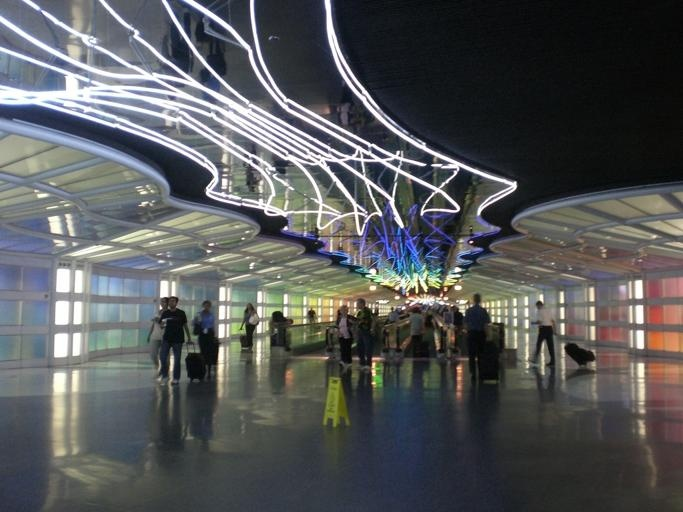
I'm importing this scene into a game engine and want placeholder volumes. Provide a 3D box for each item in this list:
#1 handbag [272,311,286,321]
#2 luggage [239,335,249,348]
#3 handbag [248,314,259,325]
[{"bbox_3d":[-3.057,2.984,27.377,0.775,0.442,0.695,-3,-10,8],"label":"handbag"},{"bbox_3d":[-4.244,3.699,24.392,0.240,0.539,0.450,-6,-8,-19],"label":"luggage"},{"bbox_3d":[-3.832,2.778,24.744,0.423,0.176,0.478,10,32,14],"label":"handbag"}]
